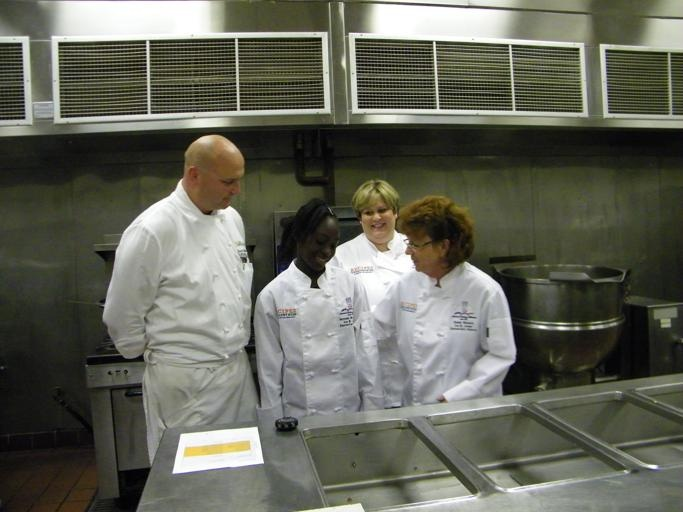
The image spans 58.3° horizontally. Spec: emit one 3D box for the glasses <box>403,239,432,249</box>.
[{"bbox_3d":[0.329,-0.049,2.599,0.121,0.037,0.034,2,7,38],"label":"glasses"}]
